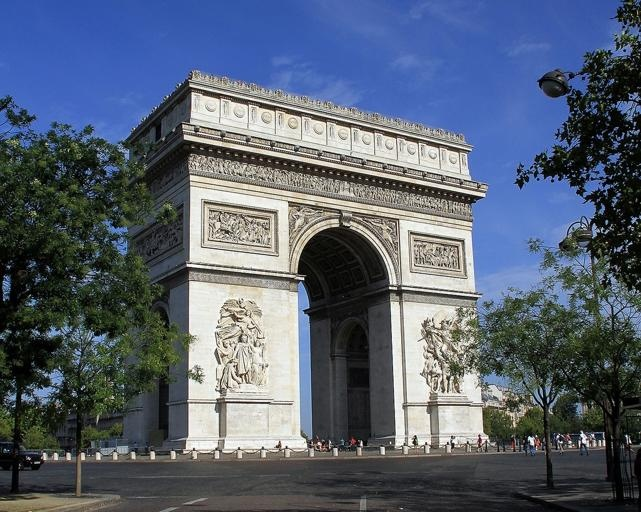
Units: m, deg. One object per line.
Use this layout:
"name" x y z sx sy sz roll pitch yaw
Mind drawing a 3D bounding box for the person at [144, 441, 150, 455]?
"person" -10.277 11.440 51.337 0.250 0.804 1.235 3 -20 -12
